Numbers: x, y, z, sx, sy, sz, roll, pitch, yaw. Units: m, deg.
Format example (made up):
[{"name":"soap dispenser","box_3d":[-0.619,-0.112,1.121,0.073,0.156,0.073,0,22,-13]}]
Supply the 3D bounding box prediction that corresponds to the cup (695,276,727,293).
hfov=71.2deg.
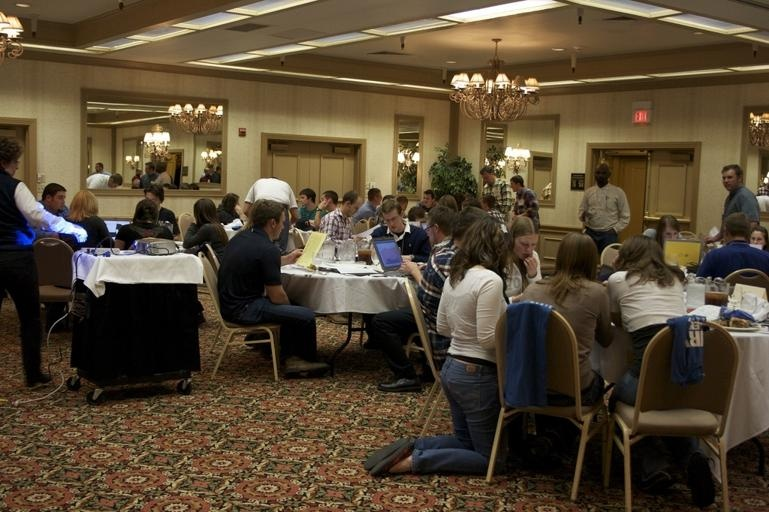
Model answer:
[{"name":"cup","box_3d":[2.543,0.222,4.161,0.206,0.197,0.129,-2,-2,38]}]

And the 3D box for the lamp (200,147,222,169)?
[{"name":"lamp","box_3d":[-3.569,-2.018,11.011,0.390,0.391,0.333,2,5,-18]}]

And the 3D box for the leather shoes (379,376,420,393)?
[{"name":"leather shoes","box_3d":[0.138,1.194,5.014,0.376,0.168,0.145,3,-5,-3]}]

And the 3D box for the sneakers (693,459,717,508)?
[{"name":"sneakers","box_3d":[1.901,1.345,3.222,0.132,0.290,0.122,-2,-7,4]}]

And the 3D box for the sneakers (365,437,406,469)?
[{"name":"sneakers","box_3d":[0.013,1.244,3.460,0.233,0.058,0.162,-21,10,-15]}]

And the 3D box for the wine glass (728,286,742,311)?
[{"name":"wine glass","box_3d":[2.564,0.309,3.925,0.101,0.188,0.062,-1,-27,41]}]

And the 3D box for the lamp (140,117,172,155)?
[{"name":"lamp","box_3d":[-4.538,-2.280,10.663,0.478,0.575,0.496,-1,8,-21]}]

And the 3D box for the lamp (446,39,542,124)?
[{"name":"lamp","box_3d":[2.077,-3.178,10.093,1.736,1.293,1.612,-2,11,-31]}]

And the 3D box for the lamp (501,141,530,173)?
[{"name":"lamp","box_3d":[3.181,-2.324,12.909,0.551,0.658,0.635,4,18,17]}]

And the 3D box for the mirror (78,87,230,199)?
[{"name":"mirror","box_3d":[-4.453,-2.078,10.668,3.063,2.131,0.078,-5,-15,13]}]

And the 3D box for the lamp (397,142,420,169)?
[{"name":"lamp","box_3d":[0.593,-2.451,13.167,0.610,0.599,0.489,-7,7,-31]}]

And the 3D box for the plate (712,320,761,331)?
[{"name":"plate","box_3d":[2.414,0.477,3.624,0.282,0.040,0.143,2,8,1]}]

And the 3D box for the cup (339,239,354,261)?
[{"name":"cup","box_3d":[-0.378,-0.049,5.579,0.183,0.207,0.187,0,0,0]}]

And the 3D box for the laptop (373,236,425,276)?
[{"name":"laptop","box_3d":[0.095,-0.012,5.203,0.330,0.238,0.398,2,5,27]}]
